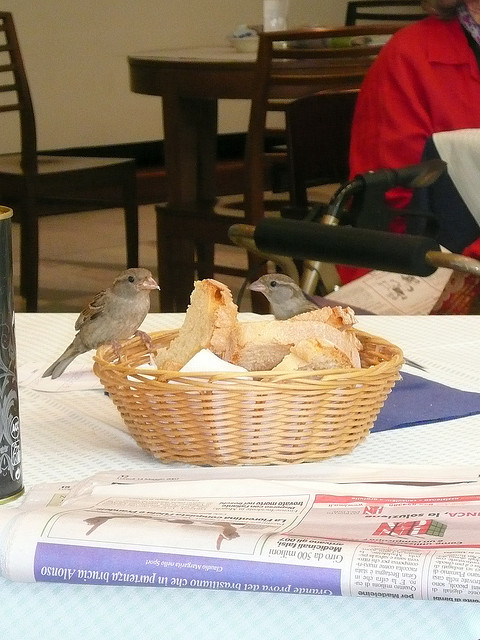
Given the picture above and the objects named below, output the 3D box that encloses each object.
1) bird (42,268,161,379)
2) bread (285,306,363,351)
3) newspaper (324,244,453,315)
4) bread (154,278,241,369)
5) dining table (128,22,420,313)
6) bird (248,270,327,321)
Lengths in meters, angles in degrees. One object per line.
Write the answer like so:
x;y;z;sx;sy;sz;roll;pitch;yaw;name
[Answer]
-0.157;0.003;0.748;0.191;0.089;0.067;-12;-8;37;bird
0.066;0.008;0.491;0.035;0.013;0.044;22;-3;14;bread
0.304;-0.057;1.290;0.291;0.135;0.012;7;-9;-23;newspaper
-0.020;0.000;0.505;0.022;0.071;0.069;33;28;-3;bread
0.126;-0.535;2.596;1.048;1.053;0.946;5;20;20;dining table
0.056;-0.029;0.787;0.121;0.065;0.057;-2;-5;8;bird
